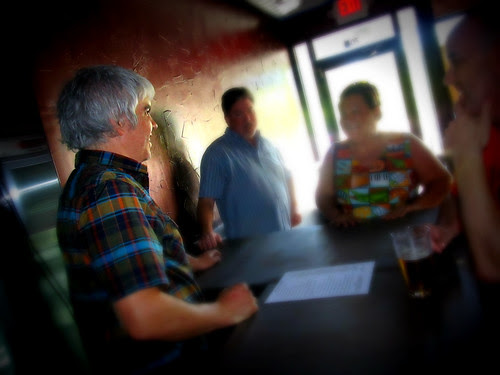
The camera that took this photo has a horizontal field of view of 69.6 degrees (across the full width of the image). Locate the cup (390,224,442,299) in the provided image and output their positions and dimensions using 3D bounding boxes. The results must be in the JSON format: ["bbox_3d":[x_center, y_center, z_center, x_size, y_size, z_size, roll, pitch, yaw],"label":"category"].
[{"bbox_3d":[0.431,0.185,0.946,0.093,0.139,0.166,-7,8,23],"label":"cup"}]
